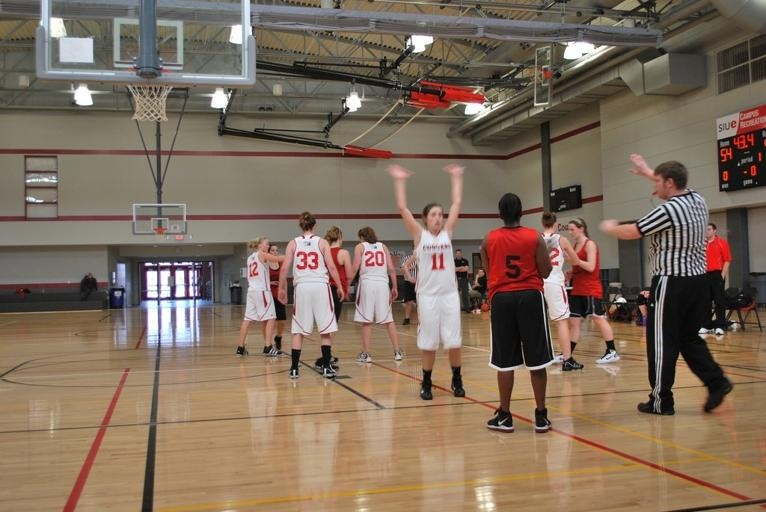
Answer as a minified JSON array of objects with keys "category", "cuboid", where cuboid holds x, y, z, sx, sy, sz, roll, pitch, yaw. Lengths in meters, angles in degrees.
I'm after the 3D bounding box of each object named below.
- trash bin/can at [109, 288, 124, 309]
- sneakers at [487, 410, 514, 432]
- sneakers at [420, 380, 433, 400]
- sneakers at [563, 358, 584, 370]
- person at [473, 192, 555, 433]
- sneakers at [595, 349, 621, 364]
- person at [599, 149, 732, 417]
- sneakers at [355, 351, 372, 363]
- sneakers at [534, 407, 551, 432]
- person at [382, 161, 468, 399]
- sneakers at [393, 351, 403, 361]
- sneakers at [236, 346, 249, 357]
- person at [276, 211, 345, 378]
[{"category":"trash bin/can","cuboid":[-10.348,1.624,24.203,0.508,0.795,0.787,-4,-5,40]},{"category":"sneakers","cuboid":[1.184,1.639,6.183,0.152,0.175,0.310,1,0,-21]},{"category":"sneakers","cuboid":[0.522,1.550,7.154,0.169,0.265,0.393,1,-12,0]},{"category":"sneakers","cuboid":[2.689,1.497,8.583,0.384,0.206,0.130,0,-1,-11]},{"category":"person","cuboid":[1.346,0.545,6.125,0.665,2.378,0.347,-2,-3,10]},{"category":"sneakers","cuboid":[3.298,1.466,9.000,0.440,0.187,0.142,-3,-5,-19]},{"category":"person","cuboid":[2.995,0.344,6.418,1.081,2.617,0.451,0,-3,-18]},{"category":"sneakers","cuboid":[-0.243,1.524,9.366,0.116,0.110,0.266,0,-1,-17]},{"category":"sneakers","cuboid":[1.578,1.616,6.079,0.117,0.171,0.291,-1,-1,14]},{"category":"person","cuboid":[0.538,0.307,7.011,0.805,2.664,0.899,-1,-3,5]},{"category":"sneakers","cuboid":[0.253,1.535,9.470,0.127,0.134,0.331,-1,-9,-1]},{"category":"sneakers","cuboid":[-2.283,1.545,10.165,0.106,0.107,0.260,1,1,8]},{"category":"person","cuboid":[-0.928,0.483,8.335,0.857,2.260,0.984,-1,-3,-9]}]
